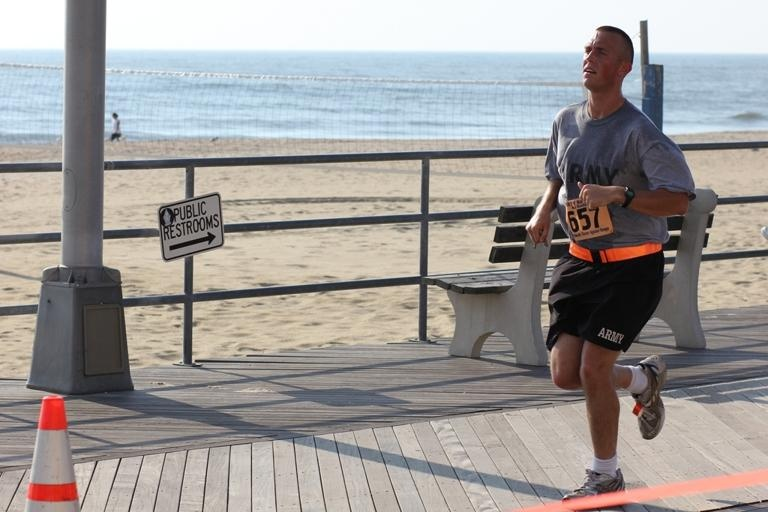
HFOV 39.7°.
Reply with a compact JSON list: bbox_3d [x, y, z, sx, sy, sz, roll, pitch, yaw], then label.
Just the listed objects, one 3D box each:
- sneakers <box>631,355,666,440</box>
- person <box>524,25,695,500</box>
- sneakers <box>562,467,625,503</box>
[{"bbox_3d":[1.507,0.792,5.954,0.181,0.461,0.239,7,15,41],"label":"sneakers"},{"bbox_3d":[1.194,-0.005,5.734,0.785,2.403,0.797,-5,12,-21],"label":"person"},{"bbox_3d":[1.046,1.183,5.530,0.408,0.149,0.126,-6,-6,-9],"label":"sneakers"}]
